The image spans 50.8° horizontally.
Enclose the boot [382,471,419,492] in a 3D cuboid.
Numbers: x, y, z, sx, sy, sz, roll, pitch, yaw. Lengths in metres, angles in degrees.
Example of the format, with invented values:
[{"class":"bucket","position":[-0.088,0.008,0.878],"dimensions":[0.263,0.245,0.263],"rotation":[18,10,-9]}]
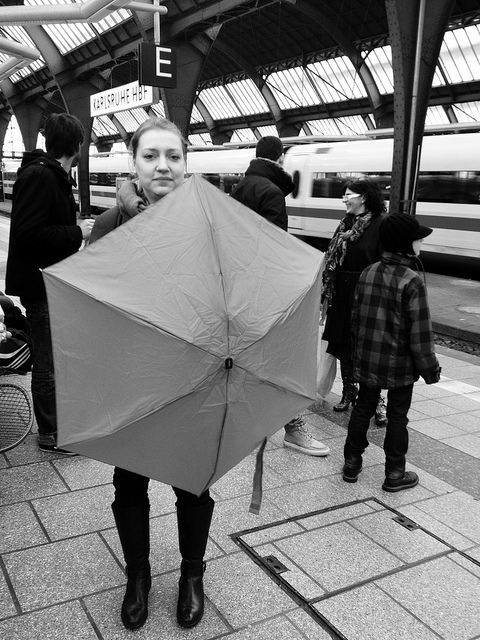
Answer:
[{"class":"boot","position":[0.955,0.962,3.026],"dimensions":[0.238,0.111,0.089],"rotation":[-12,19,-32]}]

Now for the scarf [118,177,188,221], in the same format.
[{"class":"scarf","position":[-0.319,-0.399,1.598],"dimensions":[0.151,0.126,0.215],"rotation":[-5,24,-10]}]

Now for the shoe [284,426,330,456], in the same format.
[{"class":"shoe","position":[0.448,0.804,3.497],"dimensions":[0.335,0.224,0.144],"rotation":[6,13,17]}]

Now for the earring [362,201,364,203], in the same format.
[{"class":"earring","position":[0.910,-0.878,3.755],"dimensions":[0.009,0.011,0.010],"rotation":[5,21,16]}]

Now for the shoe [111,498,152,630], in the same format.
[{"class":"shoe","position":[-0.360,0.818,1.749],"dimensions":[0.107,0.469,0.187],"rotation":[4,6,16]}]

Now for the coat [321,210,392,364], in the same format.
[{"class":"coat","position":[0.917,-0.199,3.958],"dimensions":[0.503,1.524,0.314],"rotation":[12,14,41]}]

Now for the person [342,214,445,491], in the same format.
[{"class":"person","position":[0.915,0.196,2.995],"dimensions":[0.498,1.611,0.291],"rotation":[4,6,15]}]

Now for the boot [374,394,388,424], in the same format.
[{"class":"boot","position":[1.126,0.714,4.034],"dimensions":[0.083,0.210,0.493],"rotation":[4,6,16]}]

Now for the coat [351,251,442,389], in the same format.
[{"class":"coat","position":[0.917,0.014,2.949],"dimensions":[0.496,0.812,0.184],"rotation":[5,6,22]}]

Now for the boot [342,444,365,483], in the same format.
[{"class":"boot","position":[0.674,0.881,3.054],"dimensions":[0.084,0.170,0.236],"rotation":[1,15,4]}]

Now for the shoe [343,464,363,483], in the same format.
[{"class":"shoe","position":[0.677,0.931,3.051],"dimensions":[0.102,0.101,0.060],"rotation":[3,6,0]}]

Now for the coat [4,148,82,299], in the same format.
[{"class":"coat","position":[-1.110,-0.401,3.010],"dimensions":[0.386,1.134,0.534],"rotation":[-3,16,-25]}]

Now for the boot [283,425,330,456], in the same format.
[{"class":"boot","position":[0.452,0.806,3.480],"dimensions":[0.334,0.229,0.145],"rotation":[4,11,13]}]

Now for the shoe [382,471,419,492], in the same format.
[{"class":"shoe","position":[0.952,0.964,3.018],"dimensions":[0.243,0.110,0.090],"rotation":[-11,18,-33]}]
